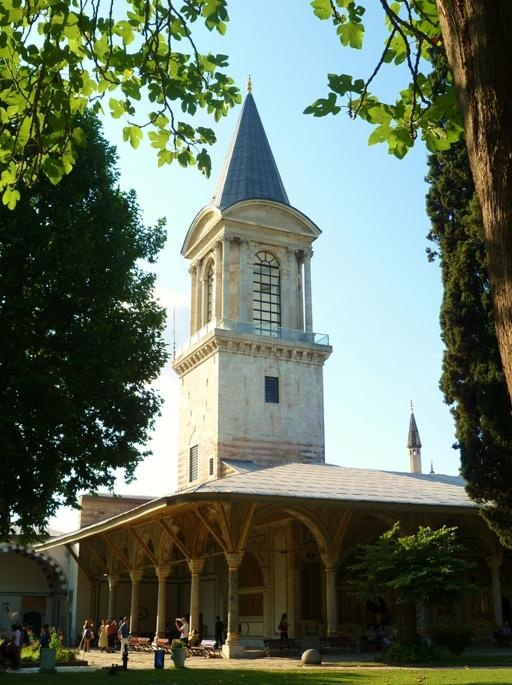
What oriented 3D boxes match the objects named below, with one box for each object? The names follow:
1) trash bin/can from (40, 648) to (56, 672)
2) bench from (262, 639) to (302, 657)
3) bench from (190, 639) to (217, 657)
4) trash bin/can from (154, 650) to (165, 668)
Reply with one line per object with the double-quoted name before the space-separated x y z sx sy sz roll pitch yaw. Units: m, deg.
"trash bin/can" -4.669 7.156 19.823 0.473 0.608 0.431 2 -28 -9
"bench" 0.689 8.825 25.492 0.809 0.512 1.445 -16 -27 35
"bench" -1.601 9.051 26.104 0.786 0.416 1.383 2 -21 -4
"trash bin/can" -2.206 7.185 20.010 0.185 0.399 0.370 4 -23 -9
